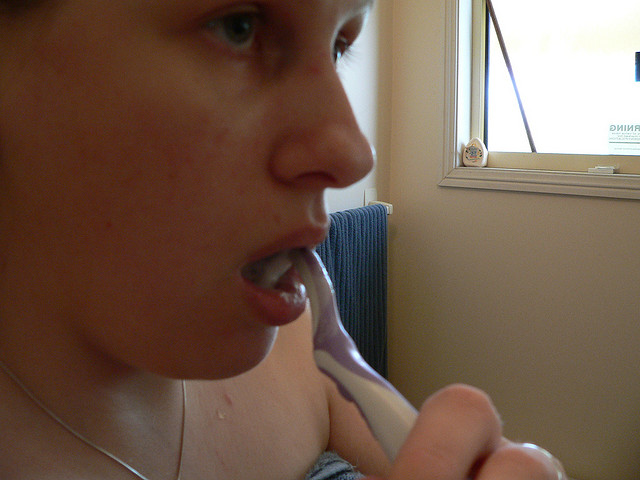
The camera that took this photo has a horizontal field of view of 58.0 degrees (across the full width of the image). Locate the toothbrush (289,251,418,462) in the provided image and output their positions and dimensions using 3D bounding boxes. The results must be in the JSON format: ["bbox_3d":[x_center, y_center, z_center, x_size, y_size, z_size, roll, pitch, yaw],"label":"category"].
[{"bbox_3d":[0.036,0.137,0.727,0.055,0.297,0.032,-41,20,-33],"label":"toothbrush"}]
